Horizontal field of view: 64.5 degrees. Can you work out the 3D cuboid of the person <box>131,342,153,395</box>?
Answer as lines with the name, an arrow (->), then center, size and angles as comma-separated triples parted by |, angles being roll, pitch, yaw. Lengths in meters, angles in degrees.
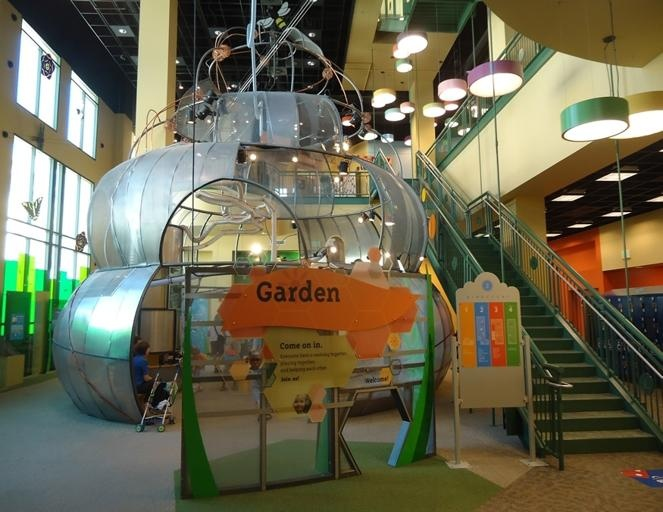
person -> -3.069, 1.859, 8.559 | 0.267, 0.851, 0.784 | -1, 6, -20

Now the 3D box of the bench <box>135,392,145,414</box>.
bench -> -3.061, 2.304, 8.428 | 0.128, 0.369, 0.472 | -1, 6, -19
